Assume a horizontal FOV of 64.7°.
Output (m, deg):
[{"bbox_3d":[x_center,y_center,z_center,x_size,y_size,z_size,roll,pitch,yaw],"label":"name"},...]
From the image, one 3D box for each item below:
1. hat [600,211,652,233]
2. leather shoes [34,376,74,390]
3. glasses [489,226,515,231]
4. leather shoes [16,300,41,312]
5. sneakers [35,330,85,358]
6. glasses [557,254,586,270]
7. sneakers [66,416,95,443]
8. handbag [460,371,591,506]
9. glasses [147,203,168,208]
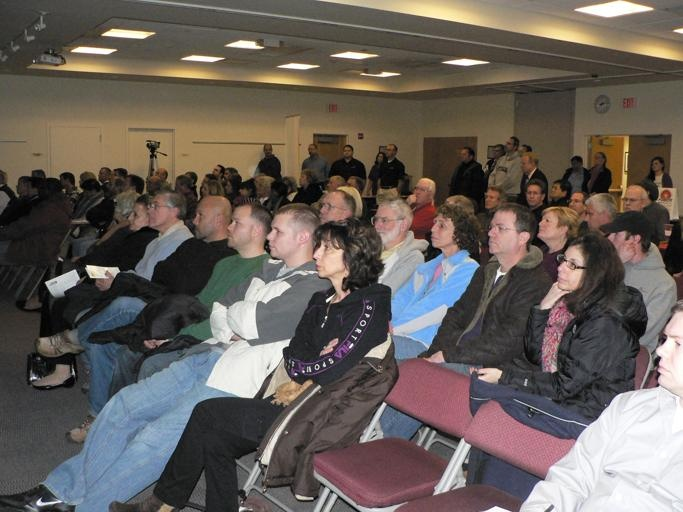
[{"bbox_3d":[1.950,-0.235,3.688,0.249,0.107,0.166,2,1,4],"label":"hat"},{"bbox_3d":[-2.186,0.986,4.192,0.321,0.109,0.110,4,5,-20],"label":"leather shoes"},{"bbox_3d":[0.954,-0.169,3.245,0.124,0.034,0.037,9,12,44],"label":"glasses"},{"bbox_3d":[-3.576,0.571,6.199,0.303,0.068,0.141,5,13,-18],"label":"leather shoes"},{"bbox_3d":[-2.058,0.645,3.940,0.378,0.166,0.148,-6,-11,0],"label":"sneakers"},{"bbox_3d":[1.056,0.033,2.487,0.072,0.020,0.068,24,-4,-24],"label":"glasses"},{"bbox_3d":[-1.701,1.127,3.518,0.167,0.165,0.094,-3,10,-24],"label":"sneakers"},{"bbox_3d":[0.774,0.739,2.343,0.567,0.196,0.528,18,56,23],"label":"handbag"},{"bbox_3d":[-1.535,-0.431,4.540,0.091,0.022,0.085,1,0,-37],"label":"glasses"}]
